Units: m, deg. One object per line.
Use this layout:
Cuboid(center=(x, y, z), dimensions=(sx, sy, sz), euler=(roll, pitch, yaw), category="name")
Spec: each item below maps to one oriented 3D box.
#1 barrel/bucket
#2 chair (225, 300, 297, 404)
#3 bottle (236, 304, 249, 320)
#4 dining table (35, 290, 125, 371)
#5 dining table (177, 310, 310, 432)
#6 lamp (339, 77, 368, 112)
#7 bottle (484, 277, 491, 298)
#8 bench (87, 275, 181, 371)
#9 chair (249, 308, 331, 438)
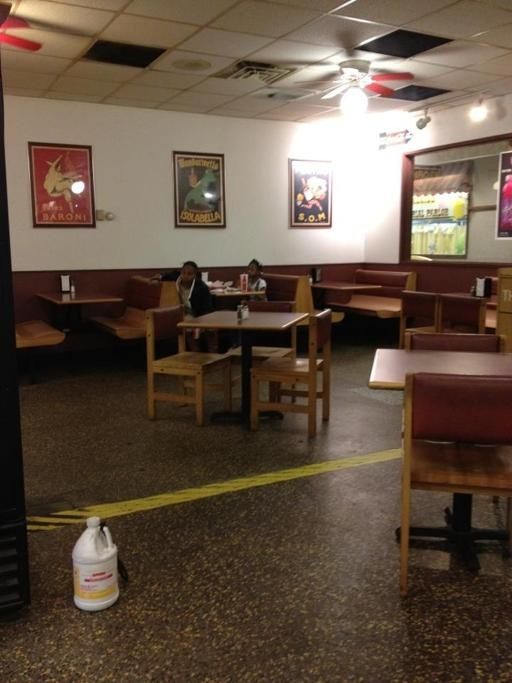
Cuboid(center=(-0.570, 0.765, 1.942), dimensions=(0.166, 0.320, 0.169), euler=(0, 6, 0), category="barrel/bucket")
Cuboid(center=(-0.056, 0.084, 4.428), dimensions=(0.737, 0.680, 0.725), euler=(6, 20, 17), category="chair")
Cuboid(center=(-0.132, -0.234, 4.391), dimensions=(0.090, 0.134, 0.140), euler=(8, 16, 30), category="bottle")
Cuboid(center=(-2.215, -0.273, 6.694), dimensions=(0.637, 0.515, 1.137), euler=(15, 17, 43), category="dining table")
Cuboid(center=(-0.104, 0.224, 4.399), dimensions=(1.060, 0.805, 1.066), euler=(5, 6, -3), category="dining table")
Cuboid(center=(1.048, -2.611, 5.840), dimensions=(0.237, 0.469, 0.609), euler=(1, 6, 13), category="lamp")
Cuboid(center=(2.319, -0.542, 5.486), dimensions=(0.056, 0.193, 0.144), euler=(2, 7, 18), category="bottle")
Cuboid(center=(-1.614, -0.441, 6.924), dimensions=(0.759, 0.734, 1.334), euler=(0, 9, -33), category="bench")
Cuboid(center=(0.278, 0.180, 4.549), dimensions=(0.668, 0.895, 1.301), euler=(1, 6, 7), category="chair")
